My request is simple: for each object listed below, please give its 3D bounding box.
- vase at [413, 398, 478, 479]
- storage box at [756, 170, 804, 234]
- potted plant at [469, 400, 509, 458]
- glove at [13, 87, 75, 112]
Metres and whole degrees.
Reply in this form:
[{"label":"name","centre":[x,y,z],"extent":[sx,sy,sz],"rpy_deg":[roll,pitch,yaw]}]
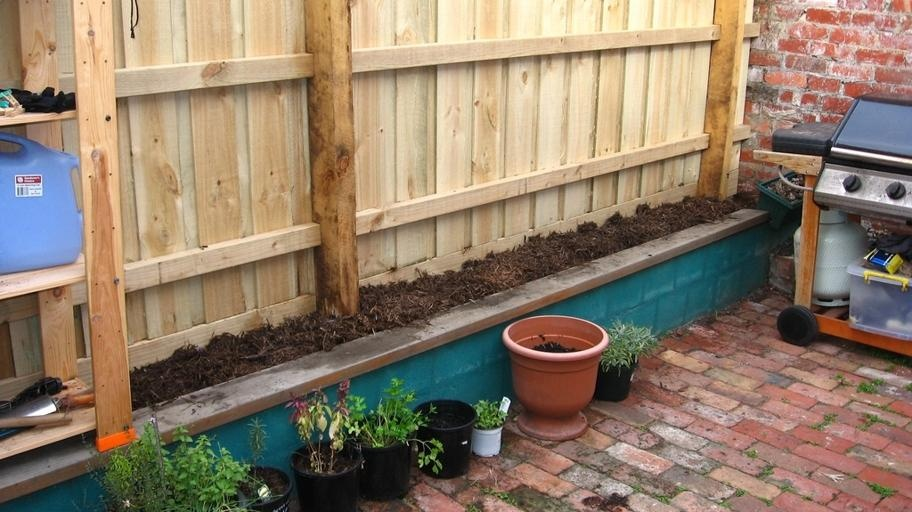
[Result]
[{"label":"vase","centre":[-0.101,1.304,4.458],"extent":[0.505,0.354,0.481],"rpy_deg":[2,9,4]},{"label":"storage box","centre":[3.350,-0.587,6.590],"extent":[0.701,0.396,0.464],"rpy_deg":[-27,45,-37]},{"label":"potted plant","centre":[0.235,1.268,4.596],"extent":[0.334,0.374,0.395],"rpy_deg":[1,8,4]},{"label":"glove","centre":[-2.145,-0.814,3.317],"extent":[0.255,0.068,0.240],"rpy_deg":[2,13,-5]}]
